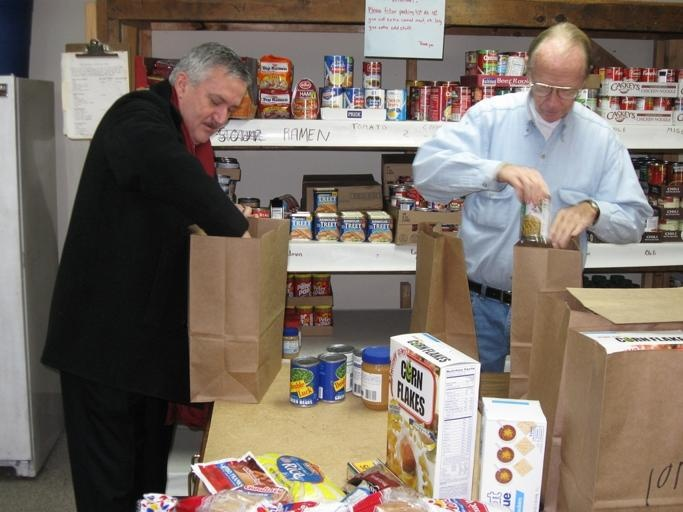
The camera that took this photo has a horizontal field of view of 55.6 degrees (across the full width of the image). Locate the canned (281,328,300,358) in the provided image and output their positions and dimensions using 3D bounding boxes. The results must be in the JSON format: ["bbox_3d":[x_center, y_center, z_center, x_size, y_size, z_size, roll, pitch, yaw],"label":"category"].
[{"bbox_3d":[-0.200,0.340,2.651,0.050,0.131,0.124,4,12,17],"label":"canned"}]

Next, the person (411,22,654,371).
[{"bbox_3d":[0.738,-0.160,2.360,0.727,1.312,0.711,-6,13,-27],"label":"person"}]

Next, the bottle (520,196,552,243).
[{"bbox_3d":[0.565,-0.104,1.886,0.082,0.127,0.069,4,12,16],"label":"bottle"}]

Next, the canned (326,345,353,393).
[{"bbox_3d":[-0.001,0.358,2.092,0.114,0.130,0.115,-2,4,-29],"label":"canned"}]

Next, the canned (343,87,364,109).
[{"bbox_3d":[0.058,-0.791,3.240,0.098,0.114,0.102,2,11,8],"label":"canned"}]

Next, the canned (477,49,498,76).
[{"bbox_3d":[0.725,-0.965,3.226,0.107,0.170,0.121,1,4,11],"label":"canned"}]

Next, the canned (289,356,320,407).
[{"bbox_3d":[-0.108,0.385,2.025,0.113,0.136,0.118,-3,6,-36],"label":"canned"}]

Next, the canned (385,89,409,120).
[{"bbox_3d":[0.273,-0.762,3.263,0.130,0.150,0.133,-2,7,-16],"label":"canned"}]

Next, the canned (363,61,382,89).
[{"bbox_3d":[0.152,-0.919,3.313,0.133,0.160,0.137,1,8,1],"label":"canned"}]

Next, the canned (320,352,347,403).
[{"bbox_3d":[-0.027,0.367,1.984,0.113,0.133,0.116,-1,6,-16],"label":"canned"}]

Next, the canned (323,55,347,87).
[{"bbox_3d":[-0.029,-0.912,3.190,0.132,0.154,0.136,3,12,7],"label":"canned"}]

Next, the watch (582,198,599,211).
[{"bbox_3d":[0.818,-0.169,2.137,0.039,0.043,0.041,13,5,4],"label":"watch"}]

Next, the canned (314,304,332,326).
[{"bbox_3d":[-0.112,0.333,3.717,0.111,0.120,0.043,-3,13,-14],"label":"canned"}]

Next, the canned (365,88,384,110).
[{"bbox_3d":[0.169,-0.789,3.245,0.097,0.115,0.099,7,11,35],"label":"canned"}]

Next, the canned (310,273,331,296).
[{"bbox_3d":[-0.120,0.160,3.749,0.108,0.128,0.111,1,4,4],"label":"canned"}]

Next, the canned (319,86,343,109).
[{"bbox_3d":[-0.044,-0.792,3.242,0.100,0.116,0.103,6,11,27],"label":"canned"}]

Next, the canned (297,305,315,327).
[{"bbox_3d":[-0.205,0.330,3.690,0.109,0.129,0.112,2,5,17],"label":"canned"}]
